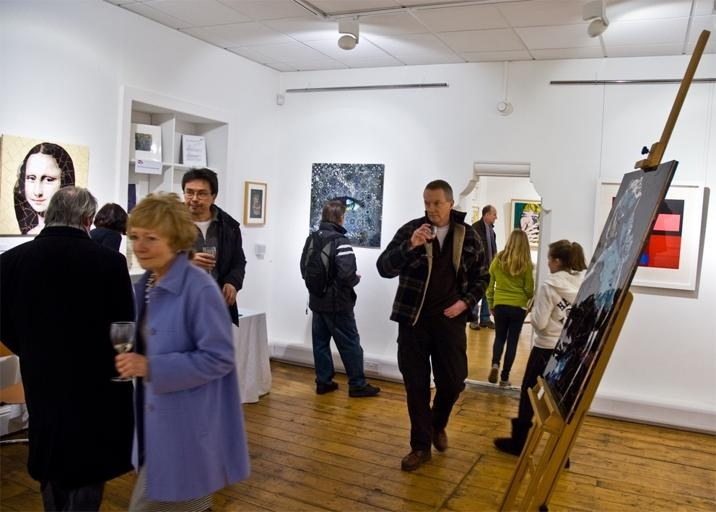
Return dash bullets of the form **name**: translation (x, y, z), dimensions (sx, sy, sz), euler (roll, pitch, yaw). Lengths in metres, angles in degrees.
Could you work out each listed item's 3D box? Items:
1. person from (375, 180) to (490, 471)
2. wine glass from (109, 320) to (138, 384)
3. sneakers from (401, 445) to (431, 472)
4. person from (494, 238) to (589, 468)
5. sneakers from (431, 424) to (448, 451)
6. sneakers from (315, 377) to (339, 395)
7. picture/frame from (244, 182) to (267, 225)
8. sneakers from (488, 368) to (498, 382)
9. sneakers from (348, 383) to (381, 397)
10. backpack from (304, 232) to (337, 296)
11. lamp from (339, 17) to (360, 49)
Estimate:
- **person**: translation (0.596, 0.511, 4.002), dimensions (0.808, 2.210, 0.454), euler (0, 6, -18)
- **wine glass**: translation (-1.087, 0.375, 2.339), dimensions (0.105, 0.145, 0.166), euler (-1, 7, -25)
- **sneakers**: translation (0.456, 1.577, 3.919), dimensions (0.101, 0.123, 0.280), euler (0, -2, 38)
- **person**: translation (1.424, 0.761, 3.983), dimensions (0.579, 1.791, 0.476), euler (5, 6, 23)
- **sneakers**: translation (0.679, 1.519, 4.158), dimensions (0.083, 0.095, 0.232), euler (-1, 3, 4)
- **sneakers**: translation (-0.327, 1.381, 5.376), dimensions (0.101, 0.117, 0.264), euler (3, 6, 34)
- **picture/frame**: translation (-1.242, -0.658, 6.074), dimensions (0.059, 0.606, 0.523), euler (2, 1, 26)
- **sneakers**: translation (1.520, 1.342, 5.657), dimensions (0.081, 0.173, 0.072), euler (10, 9, 10)
- **sneakers**: translation (0.081, 1.380, 5.267), dimensions (0.290, 0.132, 0.134), euler (0, 0, -11)
- **backpack**: translation (-0.412, 0.072, 5.154), dimensions (0.403, 0.671, 0.119), euler (7, 7, 36)
- **lamp**: translation (-0.060, -2.036, 4.602), dimensions (0.179, 0.274, 0.252), euler (-1, -5, 11)
